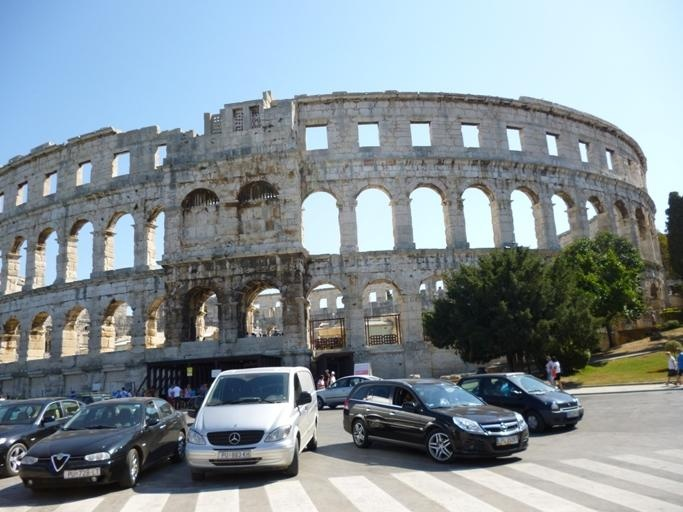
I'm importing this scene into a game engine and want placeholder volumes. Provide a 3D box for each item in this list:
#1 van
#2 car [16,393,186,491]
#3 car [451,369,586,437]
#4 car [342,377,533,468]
[{"bbox_3d":[-2.244,4.221,14.738,2.742,2.597,2.989,-2,0,6],"label":"van"},{"bbox_3d":[-5.738,4.732,14.399,2.093,2.056,3.755,-2,0,31],"label":"car"},{"bbox_3d":[5.683,4.582,18.427,3.315,1.492,1.855,-11,-15,41],"label":"car"},{"bbox_3d":[2.304,4.356,15.609,2.185,1.490,4.225,10,-17,-39],"label":"car"}]
